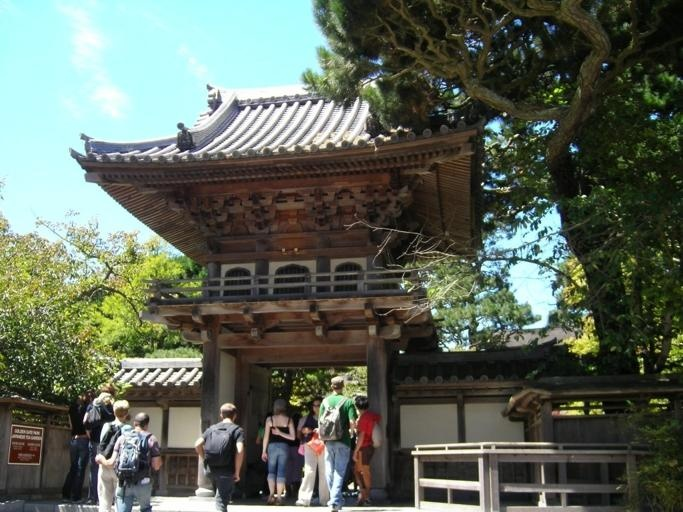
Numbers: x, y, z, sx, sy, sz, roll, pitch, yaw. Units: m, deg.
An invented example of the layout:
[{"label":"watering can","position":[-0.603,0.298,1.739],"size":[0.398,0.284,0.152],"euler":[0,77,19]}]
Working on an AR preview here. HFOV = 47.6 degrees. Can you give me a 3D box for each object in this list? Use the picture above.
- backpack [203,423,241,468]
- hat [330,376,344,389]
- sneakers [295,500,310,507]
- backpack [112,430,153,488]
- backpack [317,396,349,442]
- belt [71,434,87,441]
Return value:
[{"label":"backpack","position":[-1.675,2.680,10.890],"size":[0.611,0.686,0.405],"euler":[-1,-30,6]},{"label":"hat","position":[-0.062,1.998,12.318],"size":[0.211,0.181,0.257],"euler":[-2,-18,1]},{"label":"sneakers","position":[-0.668,4.190,13.113],"size":[0.198,0.058,0.107],"euler":[4,-55,18]},{"label":"backpack","position":[-2.918,2.812,10.883],"size":[0.474,0.776,0.267],"euler":[5,-23,-12]},{"label":"backpack","position":[-0.115,2.563,12.176],"size":[0.586,0.676,0.422],"euler":[-15,-38,21]},{"label":"belt","position":[-4.576,3.155,13.511],"size":[0.144,0.091,0.124],"euler":[0,-44,-10]}]
